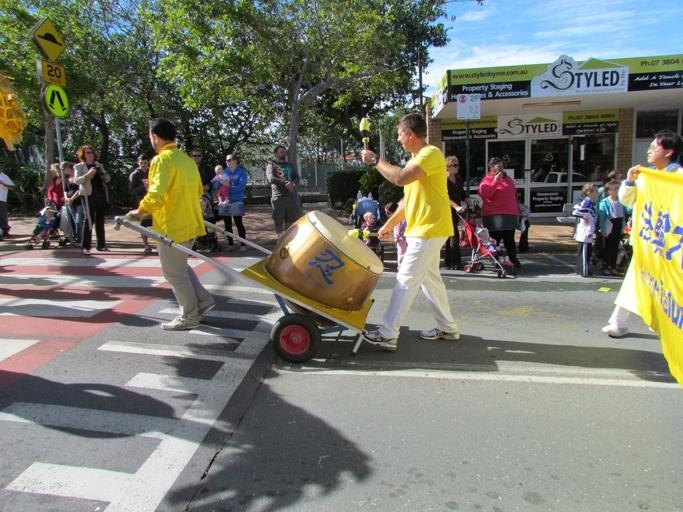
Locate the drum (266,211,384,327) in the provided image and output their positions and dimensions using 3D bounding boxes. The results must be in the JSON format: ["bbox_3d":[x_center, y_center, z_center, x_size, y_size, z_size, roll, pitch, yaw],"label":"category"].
[{"bbox_3d":[0.004,0.067,5.157,1.178,0.731,1.150,21,13,-5],"label":"drum"}]

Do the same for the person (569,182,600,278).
[{"bbox_3d":[4.637,-0.546,9.000,0.473,1.665,0.980,9,16,27],"label":"person"}]

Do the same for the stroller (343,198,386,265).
[{"bbox_3d":[0.545,-0.607,9.927,0.747,1.242,1.368,-1,-6,-6],"label":"stroller"}]

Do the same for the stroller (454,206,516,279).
[{"bbox_3d":[2.765,-0.270,9.285,1.352,1.162,0.623,13,4,34],"label":"stroller"}]

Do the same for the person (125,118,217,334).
[{"bbox_3d":[-2.042,-0.373,5.458,0.859,2.398,0.906,2,6,30],"label":"person"}]

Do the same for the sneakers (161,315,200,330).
[{"bbox_3d":[-1.878,0.763,5.501,0.400,0.164,0.170,5,0,-9],"label":"sneakers"}]

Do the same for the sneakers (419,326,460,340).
[{"bbox_3d":[1.150,0.942,5.656,0.496,0.204,0.166,5,1,6],"label":"sneakers"}]

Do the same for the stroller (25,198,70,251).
[{"bbox_3d":[-6.662,-0.727,10.645,0.714,0.939,0.658,-5,6,-41],"label":"stroller"}]

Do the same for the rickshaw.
[{"bbox_3d":[-0.965,0.143,5.214,2.953,1.333,2.271,16,17,25],"label":"rickshaw"}]
